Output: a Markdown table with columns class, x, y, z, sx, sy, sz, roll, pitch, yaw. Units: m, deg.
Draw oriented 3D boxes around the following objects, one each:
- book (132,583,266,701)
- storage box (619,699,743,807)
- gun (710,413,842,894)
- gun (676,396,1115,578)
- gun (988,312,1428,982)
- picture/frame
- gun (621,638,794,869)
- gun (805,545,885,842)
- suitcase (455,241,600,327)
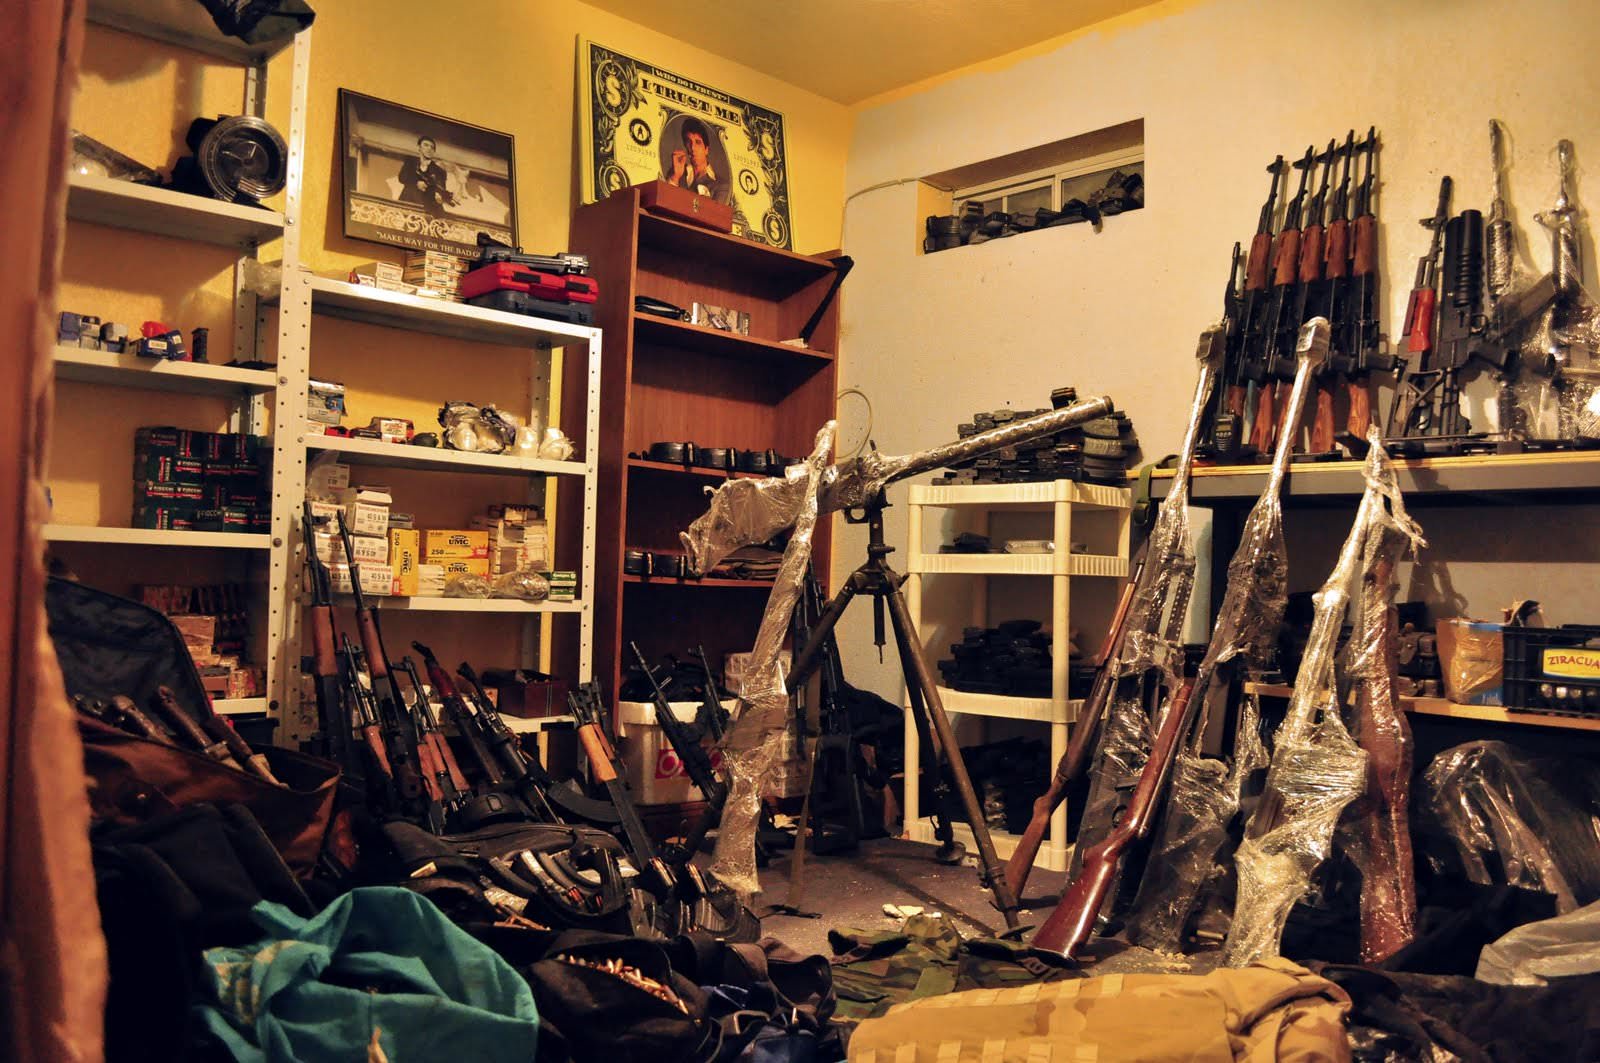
| class | x | y | z | sx | sy | sz | roll | pitch | yaw |
| --- | --- | --- | --- | --- | --- | --- | --- | --- | --- |
| book | -2.072 | 0.367 | 4.637 | 0.395 | 0.382 | 0.381 | 4 | -2 | -32 |
| storage box | -0.637 | 0.908 | 5.573 | 0.458 | 0.439 | 0.641 | -4 | -9 | 20 |
| gun | -0.069 | 0.408 | 4.445 | 0.373 | 1.187 | 0.187 | 5 | -2 | -41 |
| gun | 0.353 | -0.193 | 4.744 | 1.589 | 0.352 | 0.262 | -16 | -32 | -5 |
| gun | 1.618 | 0.291 | 4.845 | 0.783 | 2.638 | 0.806 | 12 | -27 | 32 |
| picture/frame | -1.521 | -1.423 | 5.404 | 0.834 | 0.633 | 0.061 | 5 | -11 | -39 |
| gun | -0.346 | 0.834 | 4.916 | 0.167 | 0.903 | 0.325 | -44 | -18 | 32 |
| gun | 0.190 | 0.628 | 5.250 | 0.278 | 1.197 | 0.443 | 0 | 6 | 24 |
| suitcase | -1.089 | -0.998 | 5.365 | 0.514 | 0.263 | 0.513 | 5 | 7 | -22 |
